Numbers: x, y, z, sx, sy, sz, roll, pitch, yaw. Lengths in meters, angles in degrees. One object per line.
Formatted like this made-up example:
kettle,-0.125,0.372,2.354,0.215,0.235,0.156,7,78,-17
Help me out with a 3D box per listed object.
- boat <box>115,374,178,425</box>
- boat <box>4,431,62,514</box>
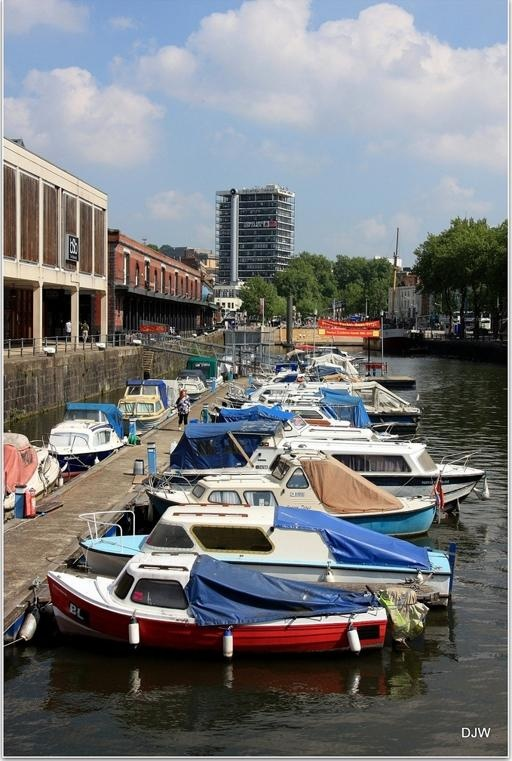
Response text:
boat,-4.427,0.857,37.224,1.190,1.306,3.727,0,3,3
boat,-5.468,2.106,22.244,0.809,1.034,2.750,3,10,6
